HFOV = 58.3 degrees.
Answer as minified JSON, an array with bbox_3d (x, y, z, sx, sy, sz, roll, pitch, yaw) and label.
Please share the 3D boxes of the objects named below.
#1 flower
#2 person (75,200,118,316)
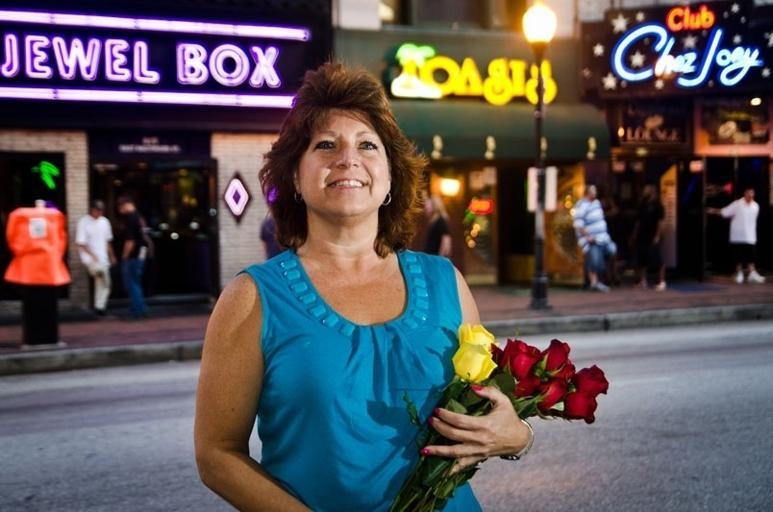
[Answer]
[{"bbox_3d":[0.488,0.733,3.136,0.987,0.844,0.242,-2,9,-9],"label":"flower"},{"bbox_3d":[-5.292,-0.139,12.594,0.623,1.618,2.807,-5,10,-22],"label":"person"}]
